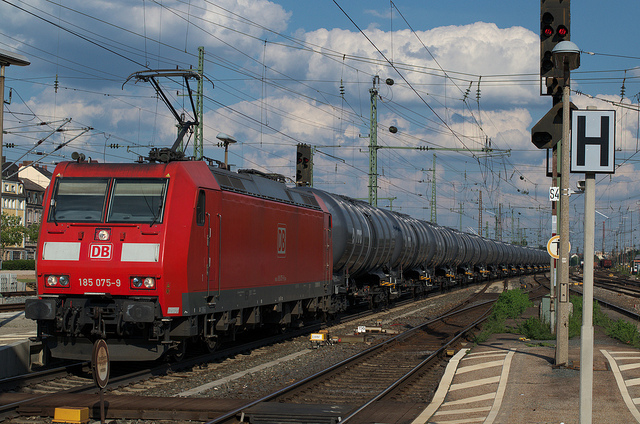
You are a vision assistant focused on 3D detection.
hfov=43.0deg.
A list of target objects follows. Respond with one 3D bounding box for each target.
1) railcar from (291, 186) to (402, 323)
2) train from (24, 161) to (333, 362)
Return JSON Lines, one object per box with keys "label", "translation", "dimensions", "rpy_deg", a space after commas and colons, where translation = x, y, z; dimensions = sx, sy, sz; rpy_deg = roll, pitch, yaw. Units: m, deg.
{"label": "railcar", "translation": [4.418, 2.455, 42.307], "dimensions": [3.463, 5.345, 14.196], "rpy_deg": [8, -1, 17]}
{"label": "train", "translation": [-2.752, 1.532, 25.406], "dimensions": [4.066, 5.318, 13.091], "rpy_deg": [7, 0, 31]}
